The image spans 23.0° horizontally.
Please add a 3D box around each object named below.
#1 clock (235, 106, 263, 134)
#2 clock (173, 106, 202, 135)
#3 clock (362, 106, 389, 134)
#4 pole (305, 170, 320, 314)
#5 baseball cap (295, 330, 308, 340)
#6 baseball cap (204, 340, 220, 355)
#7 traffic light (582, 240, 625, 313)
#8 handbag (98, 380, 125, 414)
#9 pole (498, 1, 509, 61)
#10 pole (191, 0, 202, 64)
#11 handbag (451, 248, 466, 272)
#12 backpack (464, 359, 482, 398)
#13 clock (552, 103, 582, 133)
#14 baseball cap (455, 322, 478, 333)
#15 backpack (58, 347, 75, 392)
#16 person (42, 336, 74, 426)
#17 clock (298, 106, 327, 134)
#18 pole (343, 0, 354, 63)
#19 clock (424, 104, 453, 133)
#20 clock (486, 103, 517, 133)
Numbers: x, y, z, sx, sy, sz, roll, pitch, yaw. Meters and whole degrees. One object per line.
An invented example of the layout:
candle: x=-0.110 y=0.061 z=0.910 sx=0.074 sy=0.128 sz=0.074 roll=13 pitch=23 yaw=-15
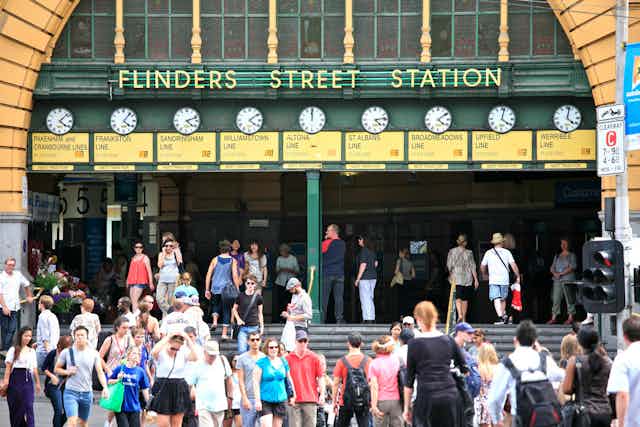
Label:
clock: x=-1.929 y=-2.550 z=43.054 sx=0.900 sy=0.749 sz=0.110 roll=0 pitch=0 yaw=2
clock: x=-3.647 y=-2.539 z=43.114 sx=0.882 sy=0.736 sz=0.136 roll=0 pitch=-6 yaw=2
clock: x=1.509 y=-2.574 z=42.908 sx=0.881 sy=0.756 sz=0.097 roll=4 pitch=3 yaw=35
pole: x=-0.159 y=0.741 z=42.853 sx=0.394 sy=3.900 sz=0.422 roll=-2 pitch=-10 yaw=-1
baseball cap: x=-0.434 y=2.709 z=35.406 sx=0.253 sy=0.199 sz=0.328 roll=-1 pitch=-9 yaw=-8
baseball cap: x=-2.412 y=2.950 z=35.071 sx=0.260 sy=0.159 sz=0.322 roll=7 pitch=14 yaw=-27
traffic light: x=6.422 y=1.412 z=35.813 sx=0.980 sy=1.664 sz=0.238 roll=-7 pitch=-11 yaw=26
handbag: x=-4.696 y=4.118 z=35.606 sx=0.510 sy=0.751 sz=0.235 roll=0 pitch=-10 yaw=-12
pole: x=4.958 y=-4.945 z=42.721 sx=0.300 sy=1.625 sz=0.354 roll=-3 pitch=-10 yaw=6
pole: x=-3.407 y=-4.949 z=43.002 sx=0.257 sy=1.755 sz=0.327 roll=-1 pitch=-10 yaw=-4
handbag: x=3.759 y=1.238 z=42.719 sx=0.077 sy=0.709 sz=0.105 roll=36 pitch=5 yaw=32
backpack: x=3.368 y=3.595 z=34.620 sx=0.255 sy=0.825 sz=0.612 roll=-5 pitch=-10 yaw=19
clock: x=6.701 y=-2.590 z=42.587 sx=0.905 sy=0.865 sz=0.127 roll=2 pitch=-2 yaw=4
baseball cap: x=3.257 y=2.515 z=35.107 sx=0.374 sy=0.137 sz=0.224 roll=5 pitch=-2 yaw=-5
backpack: x=-5.760 y=3.546 z=35.805 sx=0.254 sy=0.815 sz=0.647 roll=13 pitch=3 yaw=-2
person: x=-6.009 y=3.795 z=36.234 sx=0.779 sy=1.894 sz=0.683 roll=-3 pitch=0 yaw=23
clock: x=-0.195 y=-2.543 z=42.986 sx=0.862 sy=0.727 sz=0.127 roll=-2 pitch=1 yaw=5
pole: x=0.747 y=-4.954 z=42.871 sx=0.313 sy=1.691 sz=0.392 roll=-2 pitch=-10 yaw=0
clock: x=3.220 y=-2.588 z=42.850 sx=0.929 sy=0.807 sz=0.129 roll=3 pitch=5 yaw=36
clock: x=4.929 y=-2.579 z=42.711 sx=0.921 sy=0.768 sz=0.147 roll=0 pitch=-3 yaw=3
